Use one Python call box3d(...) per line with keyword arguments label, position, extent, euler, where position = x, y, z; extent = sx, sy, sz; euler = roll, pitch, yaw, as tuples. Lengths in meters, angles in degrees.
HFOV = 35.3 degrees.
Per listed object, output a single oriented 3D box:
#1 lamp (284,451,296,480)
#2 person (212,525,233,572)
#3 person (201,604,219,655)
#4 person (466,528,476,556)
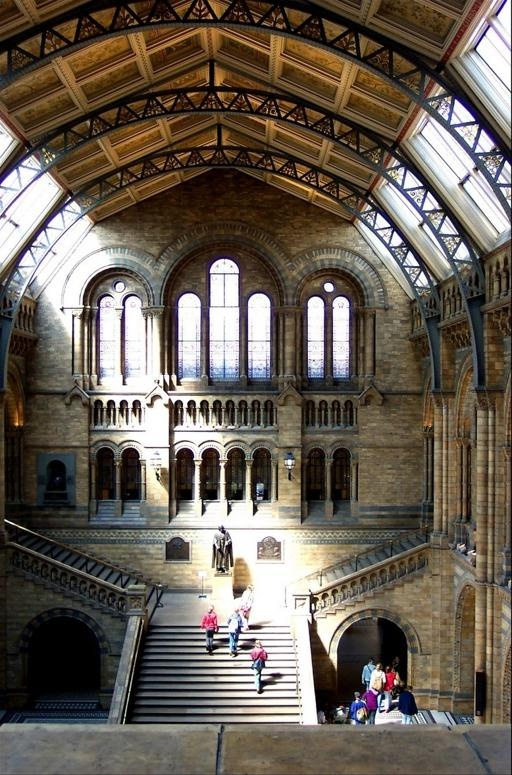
box3d(label="lamp", position=(1.152, 2.701, 27.874), extent=(0.398, 0.972, 0.757), euler=(-1, -6, 2))
box3d(label="person", position=(-1.111, 5.224, 26.199), extent=(0.614, 1.507, 0.619), euler=(0, -6, -7))
box3d(label="person", position=(-1.298, 6.655, 22.394), extent=(0.379, 1.280, 0.994), euler=(0, -6, -3))
box3d(label="person", position=(5.623, 3.933, 21.211), extent=(0.163, 0.591, 0.920), euler=(-2, -6, 13))
